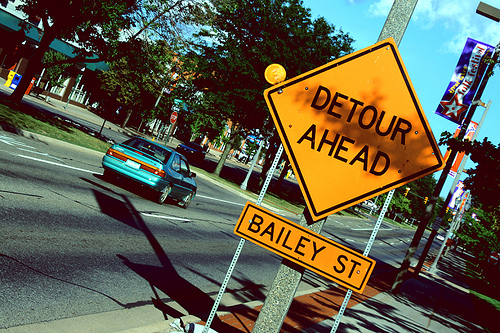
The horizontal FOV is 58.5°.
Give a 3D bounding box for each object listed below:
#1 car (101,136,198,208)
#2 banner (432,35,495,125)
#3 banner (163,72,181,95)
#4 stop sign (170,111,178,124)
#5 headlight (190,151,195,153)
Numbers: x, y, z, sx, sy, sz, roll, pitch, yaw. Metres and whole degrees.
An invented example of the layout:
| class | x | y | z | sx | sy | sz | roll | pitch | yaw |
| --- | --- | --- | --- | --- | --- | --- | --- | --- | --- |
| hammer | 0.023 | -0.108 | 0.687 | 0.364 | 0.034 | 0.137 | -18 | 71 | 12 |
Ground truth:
| class | x | y | z | sx | sy | sz | roll | pitch | yaw |
| --- | --- | --- | --- | --- | --- | --- | --- | --- | --- |
| car | -3.654 | 0.175 | 17.368 | 1.865 | 2.590 | 3.537 | 21 | 0 | 40 |
| banner | 9.234 | -3.609 | 19.335 | 1.298 | 3.753 | 1.709 | 20 | 0 | 19 |
| banner | -6.643 | -7.128 | 38.119 | 0.463 | 1.993 | 2.248 | 25 | 37 | 18 |
| stop sign | -6.596 | -4.265 | 38.773 | 0.609 | 0.897 | 0.865 | 11 | -27 | 3 |
| headlight | -5.452 | -1.415 | 42.569 | 0.437 | 0.161 | 0.119 | 23 | 0 | -10 |
